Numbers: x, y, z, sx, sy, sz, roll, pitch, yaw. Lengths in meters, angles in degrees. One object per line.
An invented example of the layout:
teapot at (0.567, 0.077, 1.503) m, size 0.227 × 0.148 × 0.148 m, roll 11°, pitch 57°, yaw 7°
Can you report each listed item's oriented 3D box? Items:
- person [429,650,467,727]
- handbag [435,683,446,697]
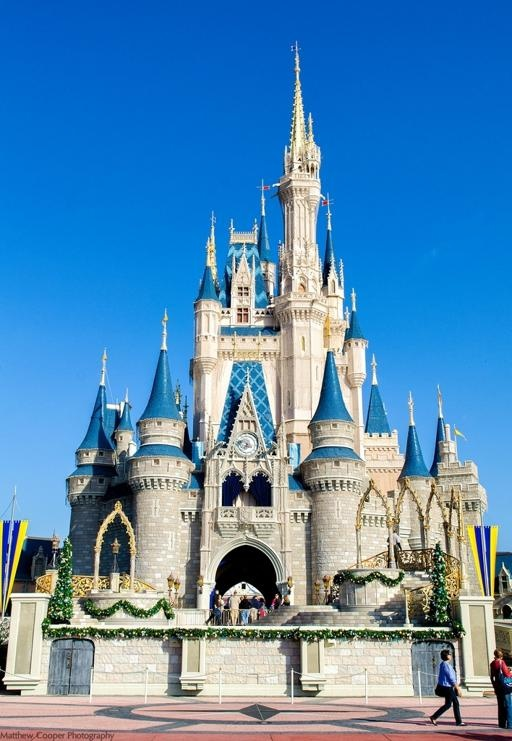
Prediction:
person at (3.361, 5.609, 15.311) m, size 0.519 × 1.210 × 2.986 m, roll -2°, pitch -15°, yaw 12°
handbag at (3.077, 5.330, 14.283) m, size 0.192 × 0.227 × 0.626 m, roll -2°, pitch -15°, yaw 8°
